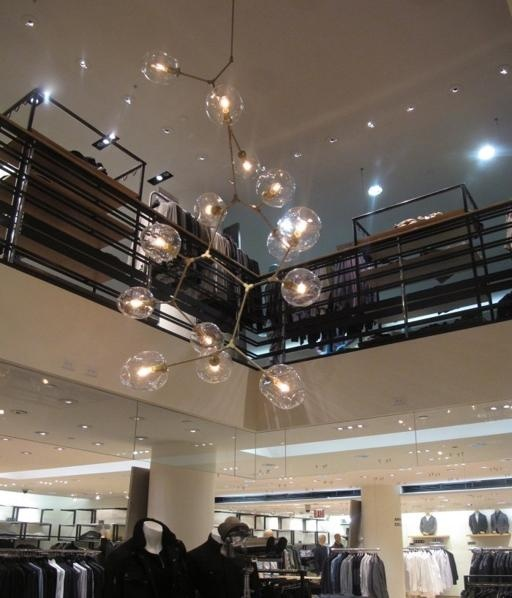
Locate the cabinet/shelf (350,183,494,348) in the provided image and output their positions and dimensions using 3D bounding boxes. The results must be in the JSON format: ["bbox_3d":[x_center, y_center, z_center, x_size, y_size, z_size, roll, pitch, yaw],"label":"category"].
[{"bbox_3d":[1.724,-0.352,5.092,1.774,1.533,0.964,-13,-26,34],"label":"cabinet/shelf"}]

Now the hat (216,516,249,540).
[{"bbox_3d":[-0.153,1.398,3.035,0.235,0.128,0.189,-4,-19,11],"label":"hat"}]

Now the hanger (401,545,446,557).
[{"bbox_3d":[3.755,5.574,11.094,0.796,0.244,1.048,-8,-19,22],"label":"hanger"}]

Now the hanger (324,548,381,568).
[{"bbox_3d":[1.168,3.122,6.083,0.607,0.226,0.771,-3,-18,7],"label":"hanger"}]
